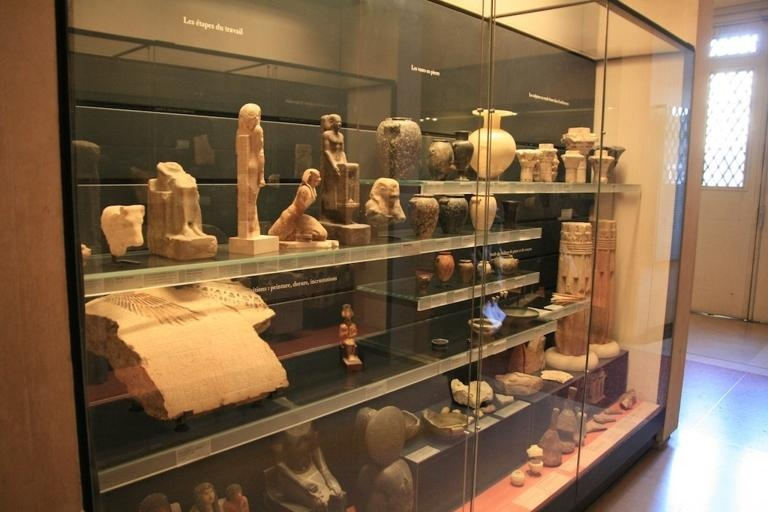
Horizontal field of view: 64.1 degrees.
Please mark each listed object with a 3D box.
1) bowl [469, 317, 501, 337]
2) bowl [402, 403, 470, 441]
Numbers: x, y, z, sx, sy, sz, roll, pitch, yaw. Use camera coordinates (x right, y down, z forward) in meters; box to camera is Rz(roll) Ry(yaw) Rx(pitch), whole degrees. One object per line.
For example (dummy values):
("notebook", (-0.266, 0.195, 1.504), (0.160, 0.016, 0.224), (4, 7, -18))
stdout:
("bowl", (0.464, 0.299, 2.675), (0.095, 0.041, 0.101), (0, 6, 0))
("bowl", (0.254, 0.686, 2.595), (0.193, 0.066, 0.166), (2, 6, -19))
